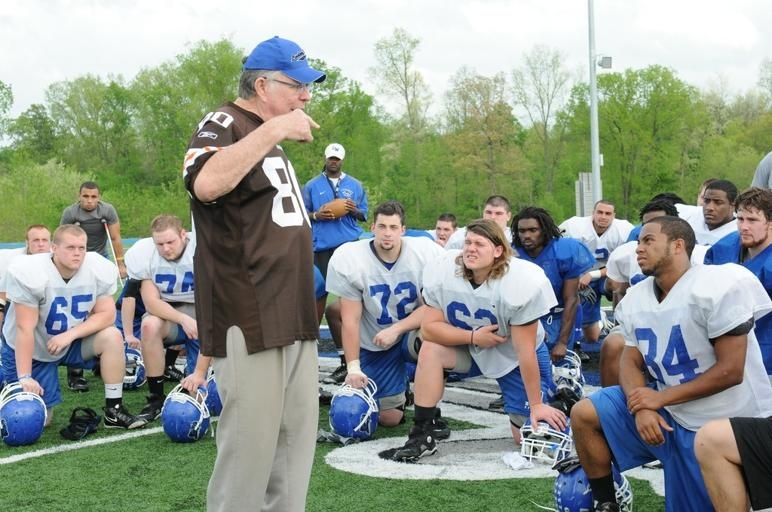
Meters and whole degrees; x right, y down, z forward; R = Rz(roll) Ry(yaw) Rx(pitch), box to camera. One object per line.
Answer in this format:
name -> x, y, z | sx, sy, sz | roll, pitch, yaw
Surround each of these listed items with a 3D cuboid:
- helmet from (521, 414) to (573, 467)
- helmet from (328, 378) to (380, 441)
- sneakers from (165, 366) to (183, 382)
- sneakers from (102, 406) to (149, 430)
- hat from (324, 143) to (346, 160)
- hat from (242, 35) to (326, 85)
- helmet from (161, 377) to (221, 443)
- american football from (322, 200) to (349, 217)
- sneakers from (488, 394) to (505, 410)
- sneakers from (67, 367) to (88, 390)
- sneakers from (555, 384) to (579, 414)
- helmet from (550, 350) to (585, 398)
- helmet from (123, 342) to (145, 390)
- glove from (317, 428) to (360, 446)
helmet -> 1.137, 1.311, 5.456 | 0.313, 0.263, 0.398 | -1, -6, 31
helmet -> -0.225, 1.213, 6.131 | 0.363, 0.442, 0.343 | 5, 16, 21
sneakers -> -2.111, 1.188, 7.789 | 0.260, 0.110, 0.111 | 9, 12, 35
sneakers -> -2.213, 1.365, 6.529 | 0.412, 0.183, 0.147 | 2, 2, 2
hat -> -0.634, -1.309, 9.529 | 0.216, 0.298, 0.496 | -1, -4, -7
hat -> -0.565, -1.102, 4.248 | 0.450, 0.282, 0.278 | -1, -3, -8
helmet -> -1.591, 1.254, 6.127 | 0.362, 0.436, 0.266 | 0, -3, -17
american football -> -0.569, -0.558, 8.982 | 0.191, 0.156, 0.262 | -5, -7, 1
sneakers -> 0.995, 1.310, 6.925 | 0.134, 0.103, 0.423 | -2, -4, 8
sneakers -> -3.050, 1.219, 7.631 | 0.178, 0.219, 0.281 | 1, -4, -32
sneakers -> 1.439, 1.141, 6.139 | 0.108, 0.299, 0.144 | -31, -22, 26
helmet -> 1.617, 1.031, 6.764 | 0.288, 0.317, 0.368 | -2, -42, 21
helmet -> -2.482, 1.090, 7.566 | 0.194, 0.459, 0.349 | 0, -3, -19
glove -> -0.390, 1.421, 6.062 | 0.235, 0.078, 0.132 | 1, 0, 2
